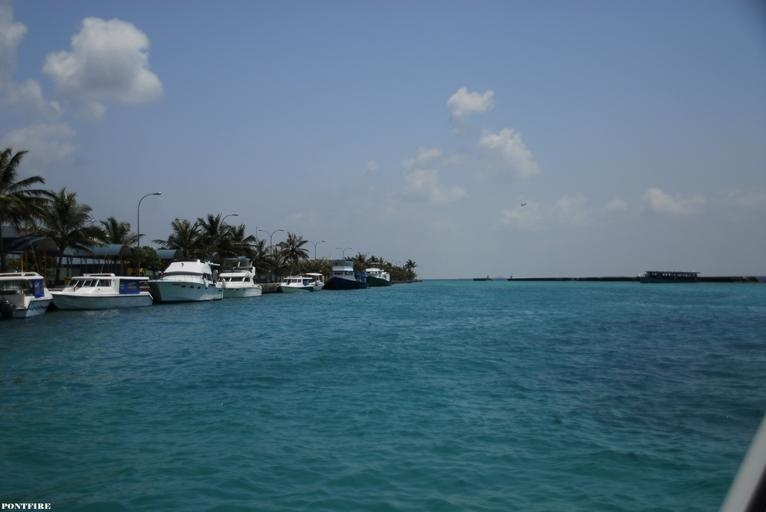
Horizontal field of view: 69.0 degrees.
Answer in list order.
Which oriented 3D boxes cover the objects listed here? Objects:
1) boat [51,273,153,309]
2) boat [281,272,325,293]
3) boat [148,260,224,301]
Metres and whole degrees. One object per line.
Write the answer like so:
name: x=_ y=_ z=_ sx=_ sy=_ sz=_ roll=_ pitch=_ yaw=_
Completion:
boat: x=-23.808 y=3.418 z=47.134 sx=3.694 sy=2.185 sz=6.246 roll=2 pitch=2 yaw=27
boat: x=-13.128 y=4.479 z=91.089 sx=2.538 sy=1.981 sz=7.953 roll=-1 pitch=-6 yaw=19
boat: x=-19.697 y=2.960 z=55.662 sx=3.441 sy=4.738 sz=8.206 roll=2 pitch=8 yaw=10
